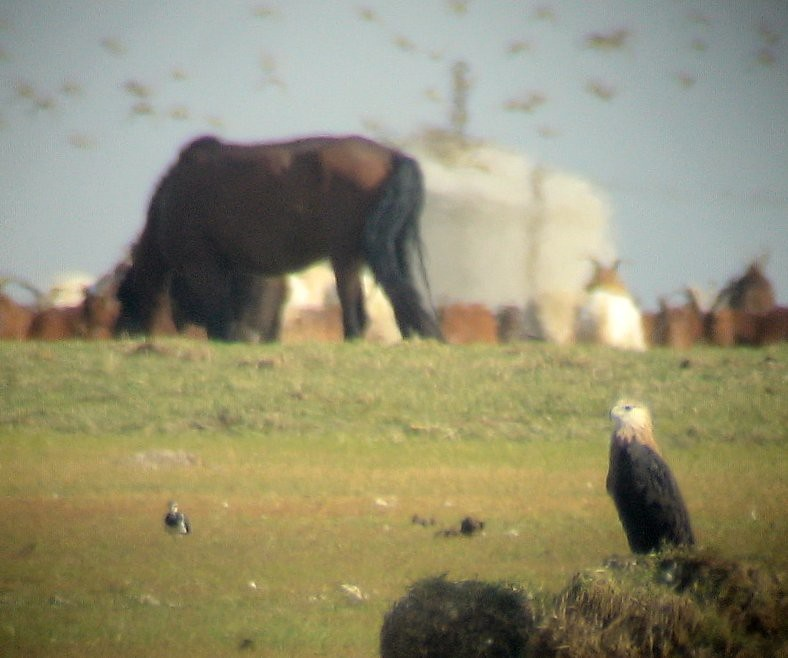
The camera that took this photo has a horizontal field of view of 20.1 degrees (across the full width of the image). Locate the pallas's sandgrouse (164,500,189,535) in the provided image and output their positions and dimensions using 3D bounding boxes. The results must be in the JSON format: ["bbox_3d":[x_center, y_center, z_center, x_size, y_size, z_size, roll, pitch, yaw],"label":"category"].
[{"bbox_3d":[-0.705,0.605,7.205,0.059,0.107,0.037,-13,-3,2],"label":"pallas's sandgrouse"}]

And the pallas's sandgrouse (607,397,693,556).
[{"bbox_3d":[0.827,0.484,7.110,0.286,0.477,0.178,2,2,6],"label":"pallas's sandgrouse"}]

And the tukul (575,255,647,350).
[{"bbox_3d":[0.687,-0.077,7.179,0.153,0.282,0.145,-3,9,-6],"label":"tukul"}]

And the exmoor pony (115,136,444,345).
[{"bbox_3d":[-0.411,-0.273,7.452,1.295,0.740,0.341,-1,-4,30],"label":"exmoor pony"}]
